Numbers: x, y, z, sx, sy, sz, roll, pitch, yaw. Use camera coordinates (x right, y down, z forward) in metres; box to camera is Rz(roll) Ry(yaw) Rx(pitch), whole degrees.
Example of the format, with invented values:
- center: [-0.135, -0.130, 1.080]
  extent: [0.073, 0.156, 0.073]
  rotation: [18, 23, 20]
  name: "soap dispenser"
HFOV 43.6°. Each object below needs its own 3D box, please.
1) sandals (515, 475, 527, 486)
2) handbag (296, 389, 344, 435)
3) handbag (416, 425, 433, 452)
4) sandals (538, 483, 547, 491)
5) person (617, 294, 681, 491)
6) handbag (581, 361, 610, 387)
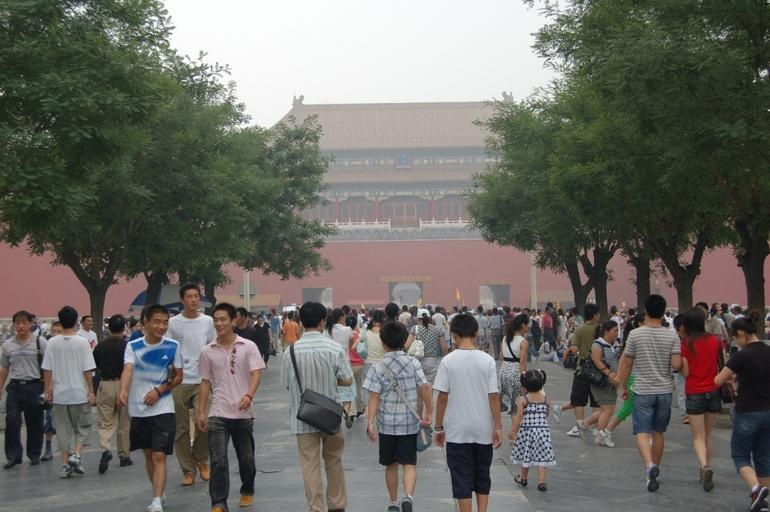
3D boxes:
- center: [2.032, 3.029, 13.069]
  extent: [0.090, 0.065, 0.173]
  rotation: [7, 12, -27]
  name: "sandals"
- center: [-0.757, 1.885, 11.620]
  extent: [0.540, 0.365, 0.137]
  rotation: [19, -38, -6]
  name: "handbag"
- center: [0.591, 2.218, 11.846]
  extent: [0.191, 0.308, 0.192]
  rotation: [-6, -8, 18]
  name: "handbag"
- center: [2.295, 3.059, 12.851]
  extent: [0.126, 0.104, 0.161]
  rotation: [-4, -7, 7]
  name: "sandals"
- center: [4.017, 1.861, 13.287]
  extent: [1.190, 2.512, 1.094]
  rotation: [3, -3, -34]
  name: "person"
- center: [3.513, 1.793, 14.778]
  extent: [0.162, 0.347, 0.391]
  rotation: [-35, 29, -31]
  name: "handbag"
